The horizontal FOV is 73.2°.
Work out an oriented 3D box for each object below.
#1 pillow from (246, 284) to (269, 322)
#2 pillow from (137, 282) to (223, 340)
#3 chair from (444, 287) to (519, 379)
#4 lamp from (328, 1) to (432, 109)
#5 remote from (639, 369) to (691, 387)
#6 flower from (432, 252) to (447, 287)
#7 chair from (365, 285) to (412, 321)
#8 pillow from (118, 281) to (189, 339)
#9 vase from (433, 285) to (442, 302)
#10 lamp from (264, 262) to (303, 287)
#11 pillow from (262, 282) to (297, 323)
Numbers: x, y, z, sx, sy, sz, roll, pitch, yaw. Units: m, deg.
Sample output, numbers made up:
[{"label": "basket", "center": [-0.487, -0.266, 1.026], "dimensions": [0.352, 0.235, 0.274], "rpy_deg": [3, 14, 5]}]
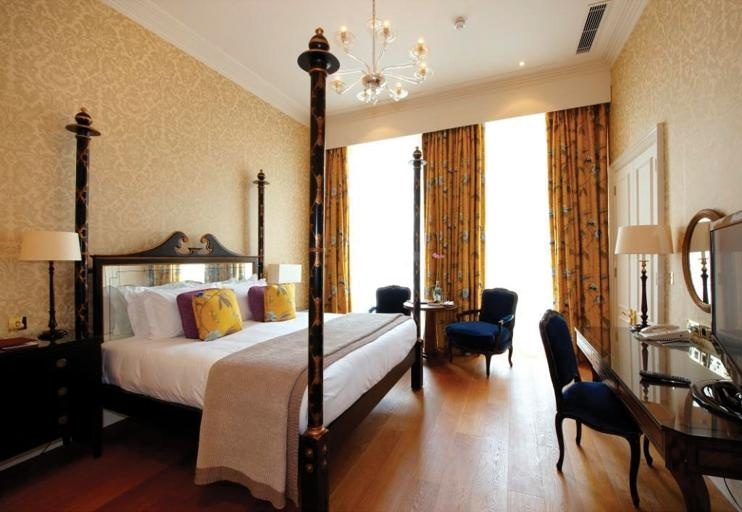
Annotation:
[{"label": "pillow", "center": [-1.337, 0.567, 5.882], "dimensions": [0.202, 0.371, 0.389], "rpy_deg": [-7, -1, 3]}, {"label": "pillow", "center": [-1.977, 0.588, 5.141], "dimensions": [0.217, 0.506, 0.488], "rpy_deg": [-9, -9, 41]}, {"label": "chair", "center": [1.460, 0.965, 6.628], "dimensions": [0.858, 0.932, 1.050], "rpy_deg": [3, 11, 18]}, {"label": "lamp", "center": [0.114, -2.463, 5.962], "dimensions": [1.096, 1.616, 1.001], "rpy_deg": [2, -12, -5]}, {"label": "remote", "center": [2.350, 0.991, 4.004], "dimensions": [0.281, 0.069, 0.142], "rpy_deg": [9, 6, 24]}, {"label": "flower", "center": [0.976, 0.180, 7.326], "dimensions": [0.194, 0.473, 0.139], "rpy_deg": [8, 14, 41]}, {"label": "chair", "center": [0.277, 0.657, 7.207], "dimensions": [0.396, 0.687, 0.475], "rpy_deg": [0, -13, 9]}, {"label": "pillow", "center": [-2.240, 0.572, 5.152], "dimensions": [0.487, 0.588, 0.169], "rpy_deg": [1, -9, -43]}, {"label": "vase", "center": [0.927, 0.502, 6.986], "dimensions": [0.114, 0.187, 0.284], "rpy_deg": [0, 11, 6]}, {"label": "lamp", "center": [-1.123, 0.207, 6.267], "dimensions": [0.243, 0.315, 0.456], "rpy_deg": [1, -1, 32]}, {"label": "pillow", "center": [-1.102, 0.550, 5.920], "dimensions": [0.419, 0.432, 0.162], "rpy_deg": [3, -7, -42]}]
